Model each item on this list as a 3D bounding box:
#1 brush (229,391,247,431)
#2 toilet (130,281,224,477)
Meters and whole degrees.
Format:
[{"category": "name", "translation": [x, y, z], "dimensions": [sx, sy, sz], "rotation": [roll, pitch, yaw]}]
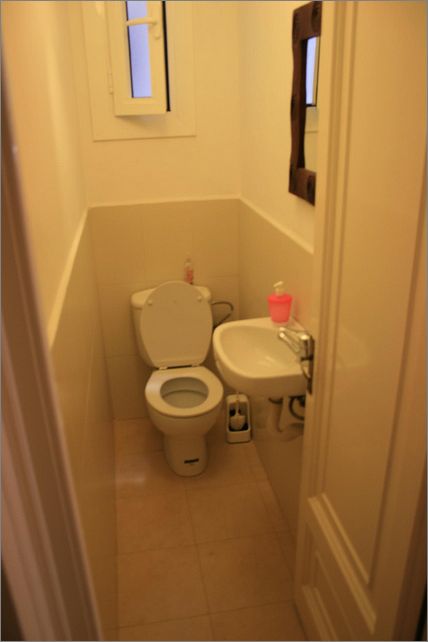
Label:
[{"category": "brush", "translation": [0.114, 0.465, 2.642], "dimensions": [0.080, 0.204, 0.192], "rotation": [-1, 40, 0]}, {"category": "toilet", "translation": [-0.177, 0.287, 2.465], "dimensions": [0.301, 0.901, 0.684], "rotation": [-5, 20, -13]}]
